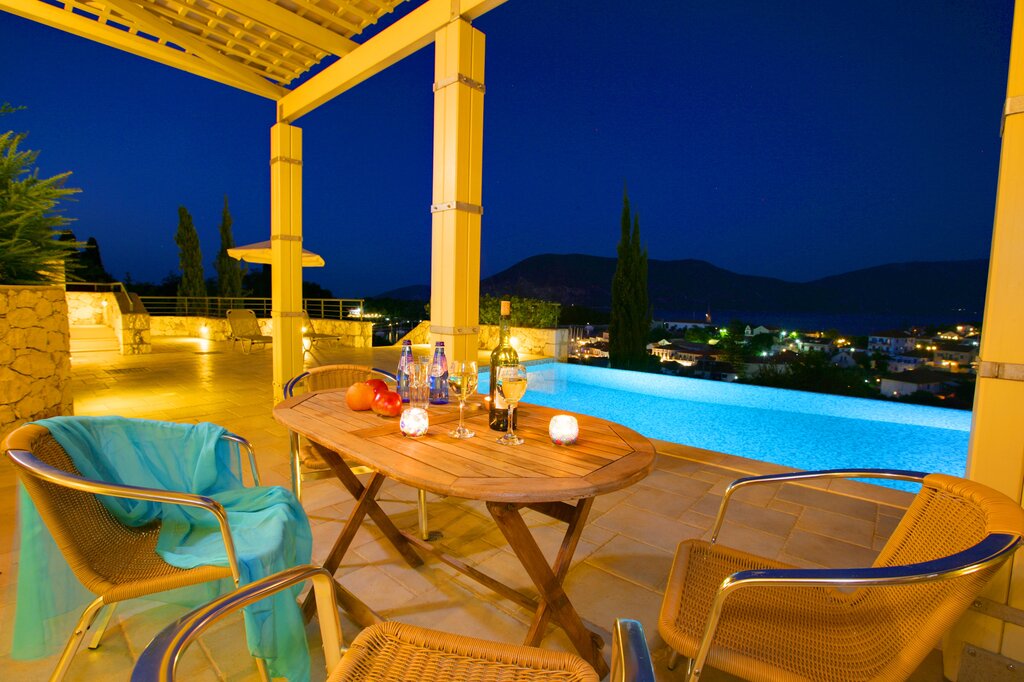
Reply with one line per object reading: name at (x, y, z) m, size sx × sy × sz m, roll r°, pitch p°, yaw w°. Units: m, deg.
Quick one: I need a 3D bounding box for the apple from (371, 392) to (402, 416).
apple at (-0.725, 0.338, 3.417) m, size 0.145 × 0.126 × 0.133 m, roll 1°, pitch 11°, yaw -29°

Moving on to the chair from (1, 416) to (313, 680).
chair at (-1.743, 1.110, 3.476) m, size 1.647 × 1.375 × 1.369 m, roll -1°, pitch 6°, yaw -20°

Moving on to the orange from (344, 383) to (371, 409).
orange at (-0.870, 0.313, 3.453) m, size 0.152 × 0.146 × 0.146 m, roll 4°, pitch 13°, yaw 5°

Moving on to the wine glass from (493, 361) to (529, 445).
wine glass at (-0.020, 0.321, 3.235) m, size 0.164 × 0.420 × 0.318 m, roll 0°, pitch 5°, yaw -2°

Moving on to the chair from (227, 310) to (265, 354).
chair at (-4.818, -0.160, 10.811) m, size 0.694 × 0.636 × 1.319 m, roll -5°, pitch 17°, yaw -41°
